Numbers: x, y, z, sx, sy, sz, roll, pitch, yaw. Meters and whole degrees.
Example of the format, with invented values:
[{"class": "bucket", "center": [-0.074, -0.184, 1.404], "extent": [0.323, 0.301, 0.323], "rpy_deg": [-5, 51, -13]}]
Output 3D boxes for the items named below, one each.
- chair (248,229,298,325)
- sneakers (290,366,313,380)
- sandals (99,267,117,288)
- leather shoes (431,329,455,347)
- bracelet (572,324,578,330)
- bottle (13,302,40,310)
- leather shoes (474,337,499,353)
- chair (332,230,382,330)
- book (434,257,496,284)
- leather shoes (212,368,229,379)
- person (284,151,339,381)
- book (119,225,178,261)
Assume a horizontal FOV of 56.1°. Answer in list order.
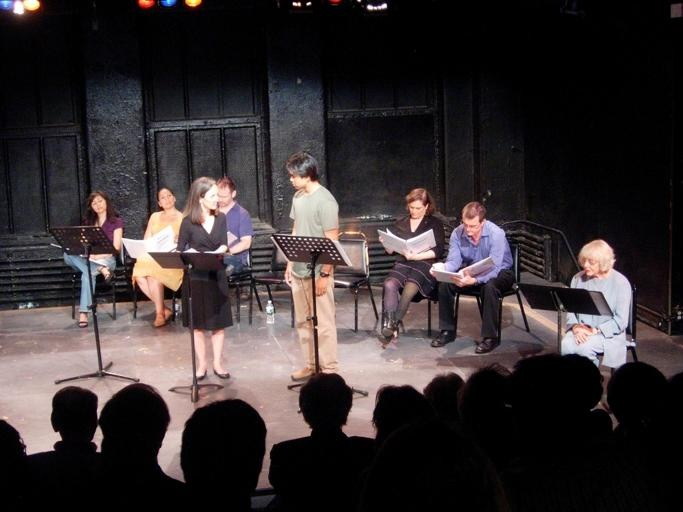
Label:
[{"class": "chair", "center": [-1.057, 0.244, 8.141], "extent": [0.566, 0.909, 0.515], "rpy_deg": [14, -5, 14]}, {"class": "sneakers", "center": [-0.349, 1.070, 5.847], "extent": [0.229, 0.091, 0.094], "rpy_deg": [2, 0, -31]}, {"class": "sandals", "center": [-3.025, 0.234, 8.315], "extent": [0.124, 0.175, 0.453], "rpy_deg": [-4, 37, -34]}, {"class": "leather shoes", "center": [1.082, 0.870, 6.805], "extent": [0.114, 0.143, 0.361], "rpy_deg": [-2, -3, 41]}, {"class": "bracelet", "center": [1.984, 0.607, 5.451], "extent": [0.011, 0.033, 0.030], "rpy_deg": [34, -13, -30]}, {"class": "bottle", "center": [-4.490, 0.689, 9.136], "extent": [0.311, 0.102, 0.071], "rpy_deg": [-1, 11, 9]}, {"class": "leather shoes", "center": [1.478, 0.909, 6.531], "extent": [0.110, 0.110, 0.300], "rpy_deg": [2, 1, 39]}, {"class": "chair", "center": [0.043, 0.258, 7.271], "extent": [0.637, 0.955, 0.650], "rpy_deg": [5, 12, 41]}, {"class": "book", "center": [1.175, 0.157, 6.276], "extent": [0.426, 0.119, 0.334], "rpy_deg": [6, 4, 40]}, {"class": "leather shoes", "center": [-1.114, 1.091, 5.957], "extent": [0.135, 0.047, 0.076], "rpy_deg": [3, 4, 29]}, {"class": "person", "center": [-0.260, 0.123, 5.668], "extent": [0.490, 2.037, 0.794], "rpy_deg": [-3, 11, -1]}, {"class": "book", "center": [-2.147, -0.065, 7.101], "extent": [0.664, 0.283, 0.482], "rpy_deg": [-6, -41, 5]}]
